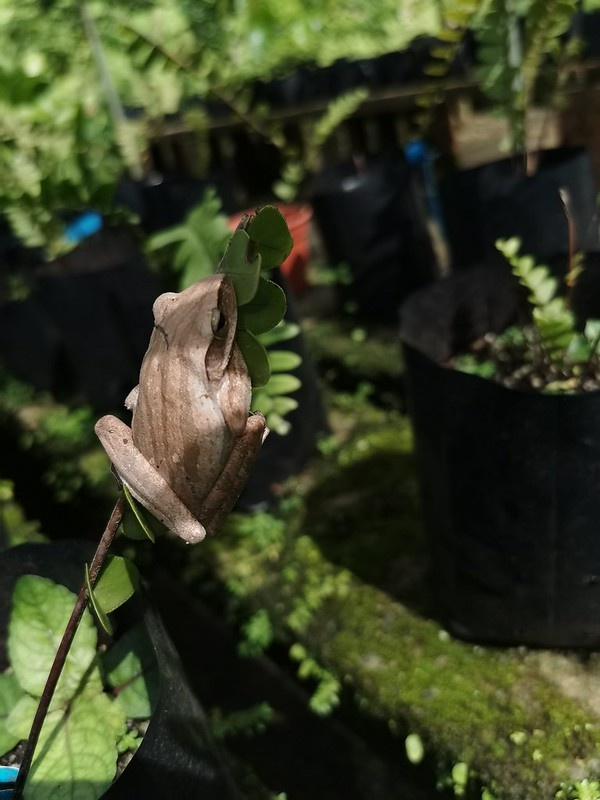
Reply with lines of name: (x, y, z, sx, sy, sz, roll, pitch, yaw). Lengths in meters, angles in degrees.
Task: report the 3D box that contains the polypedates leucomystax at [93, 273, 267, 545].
polypedates leucomystax: (-0.064, 0.002, 0.620, 0.164, 0.188, 0.088, 10, 6, 21)
